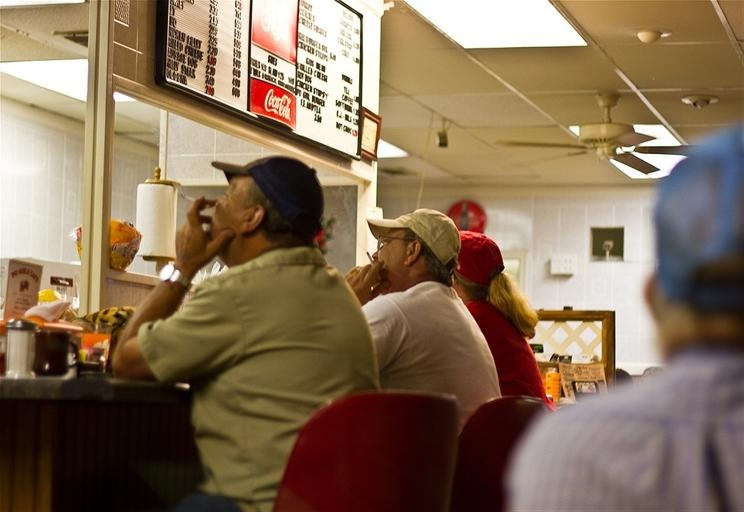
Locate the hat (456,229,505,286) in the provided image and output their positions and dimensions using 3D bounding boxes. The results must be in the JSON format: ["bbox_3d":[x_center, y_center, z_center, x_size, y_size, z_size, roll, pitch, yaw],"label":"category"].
[{"bbox_3d":[0.397,-0.018,2.970,0.176,0.128,0.242,1,33,-29],"label":"hat"}]

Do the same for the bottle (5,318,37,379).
[{"bbox_3d":[-0.790,0.206,1.636,0.064,0.123,0.152,4,-5,-27],"label":"bottle"}]

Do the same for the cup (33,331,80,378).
[{"bbox_3d":[-0.747,0.234,1.702,0.116,0.107,0.070,1,0,-23],"label":"cup"}]

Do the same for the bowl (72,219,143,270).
[{"bbox_3d":[-0.979,-0.051,2.771,0.230,0.179,0.169,14,7,28],"label":"bowl"}]

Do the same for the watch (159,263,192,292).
[{"bbox_3d":[-0.506,0.056,1.881,0.067,0.039,0.067,25,-4,-4],"label":"watch"}]

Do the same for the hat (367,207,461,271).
[{"bbox_3d":[0.153,-0.090,2.645,0.291,0.146,0.191,26,-1,7],"label":"hat"}]

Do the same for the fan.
[{"bbox_3d":[2.056,-1.193,6.780,1.320,0.422,1.209,3,-5,5],"label":"fan"}]
